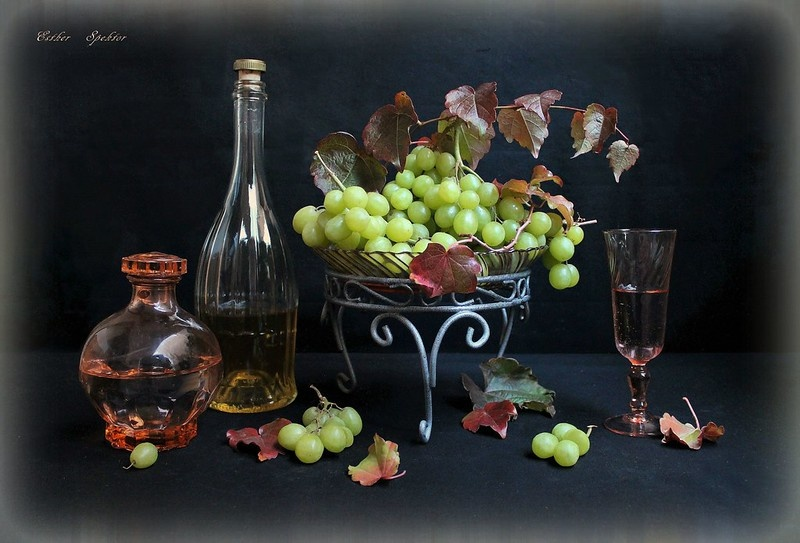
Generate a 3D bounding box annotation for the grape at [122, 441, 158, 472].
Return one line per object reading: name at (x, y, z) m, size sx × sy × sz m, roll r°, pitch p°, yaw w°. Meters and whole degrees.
grape at (-0.563, 0.401, 1.991) m, size 0.040 × 0.038 × 0.075 m, roll 1°, pitch 11°, yaw 24°

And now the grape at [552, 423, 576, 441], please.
grape at (0.371, 0.361, 2.067) m, size 0.033 × 0.031 × 0.043 m, roll -1°, pitch 0°, yaw 2°

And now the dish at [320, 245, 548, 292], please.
dish at (0.081, -0.033, 2.271) m, size 0.563 × 0.077 × 0.551 m, roll -1°, pitch 5°, yaw -6°

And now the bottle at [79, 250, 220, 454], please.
bottle at (-0.566, 0.180, 2.116) m, size 0.328 × 0.422 × 0.321 m, roll 3°, pitch 8°, yaw 0°

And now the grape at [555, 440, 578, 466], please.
grape at (0.365, 0.399, 2.004) m, size 0.053 × 0.051 × 0.028 m, roll 27°, pitch -9°, yaw -11°

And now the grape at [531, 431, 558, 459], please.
grape at (0.324, 0.389, 2.047) m, size 0.061 × 0.053 × 0.055 m, roll 4°, pitch 14°, yaw 10°
